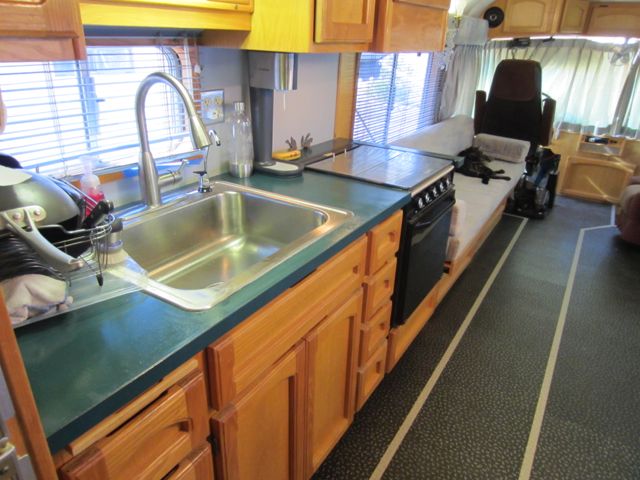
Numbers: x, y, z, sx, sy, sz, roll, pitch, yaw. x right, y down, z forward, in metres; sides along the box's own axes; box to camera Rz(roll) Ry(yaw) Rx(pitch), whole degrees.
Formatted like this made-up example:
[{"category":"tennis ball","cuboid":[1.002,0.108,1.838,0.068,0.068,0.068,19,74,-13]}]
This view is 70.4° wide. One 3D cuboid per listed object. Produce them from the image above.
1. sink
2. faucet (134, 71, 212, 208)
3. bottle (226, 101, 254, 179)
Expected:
[{"category":"sink","cuboid":[-0.305,0.030,1.756,0.445,0.211,0.538,29,44,25]},{"category":"faucet","cuboid":[-0.486,-0.302,1.488,0.381,0.463,0.118,20,32,39]},{"category":"bottle","cuboid":[-0.355,-0.424,2.020,0.108,0.281,0.111,-1,25,0]}]
